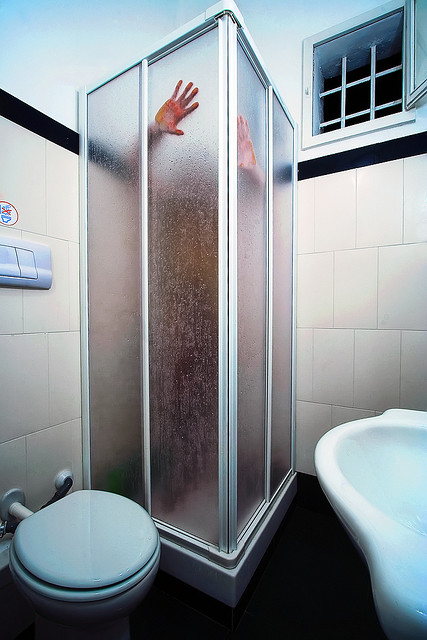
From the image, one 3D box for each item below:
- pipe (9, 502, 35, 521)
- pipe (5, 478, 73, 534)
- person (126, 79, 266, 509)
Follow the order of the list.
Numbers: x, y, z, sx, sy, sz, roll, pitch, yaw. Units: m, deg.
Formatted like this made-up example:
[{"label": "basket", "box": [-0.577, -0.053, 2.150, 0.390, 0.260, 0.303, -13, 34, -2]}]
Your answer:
[{"label": "pipe", "box": [-0.624, 0.613, 1.414, 0.025, 0.033, 0.052, -20, 14, -36]}, {"label": "pipe", "box": [-0.555, 0.617, 1.479, 0.063, 0.073, 0.121, 10, 22, 20]}, {"label": "person", "box": [-0.107, -0.072, 1.457, 0.420, 1.354, 0.230, 3, 9, 21]}]
